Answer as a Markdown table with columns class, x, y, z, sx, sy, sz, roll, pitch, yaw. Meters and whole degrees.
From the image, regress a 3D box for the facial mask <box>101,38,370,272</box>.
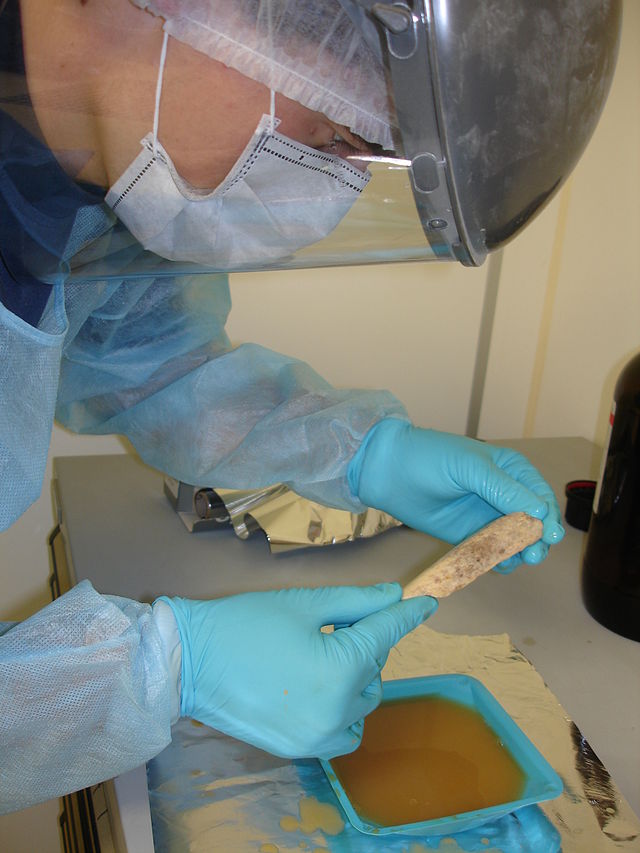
| class | x | y | z | sx | sy | sz | roll | pitch | yaw |
| --- | --- | --- | --- | --- | --- | --- | --- | --- | --- |
| facial mask | -0.075 | -0.224 | 0.581 | 0.153 | 0.138 | 0.114 | -3 | -19 | -1 |
